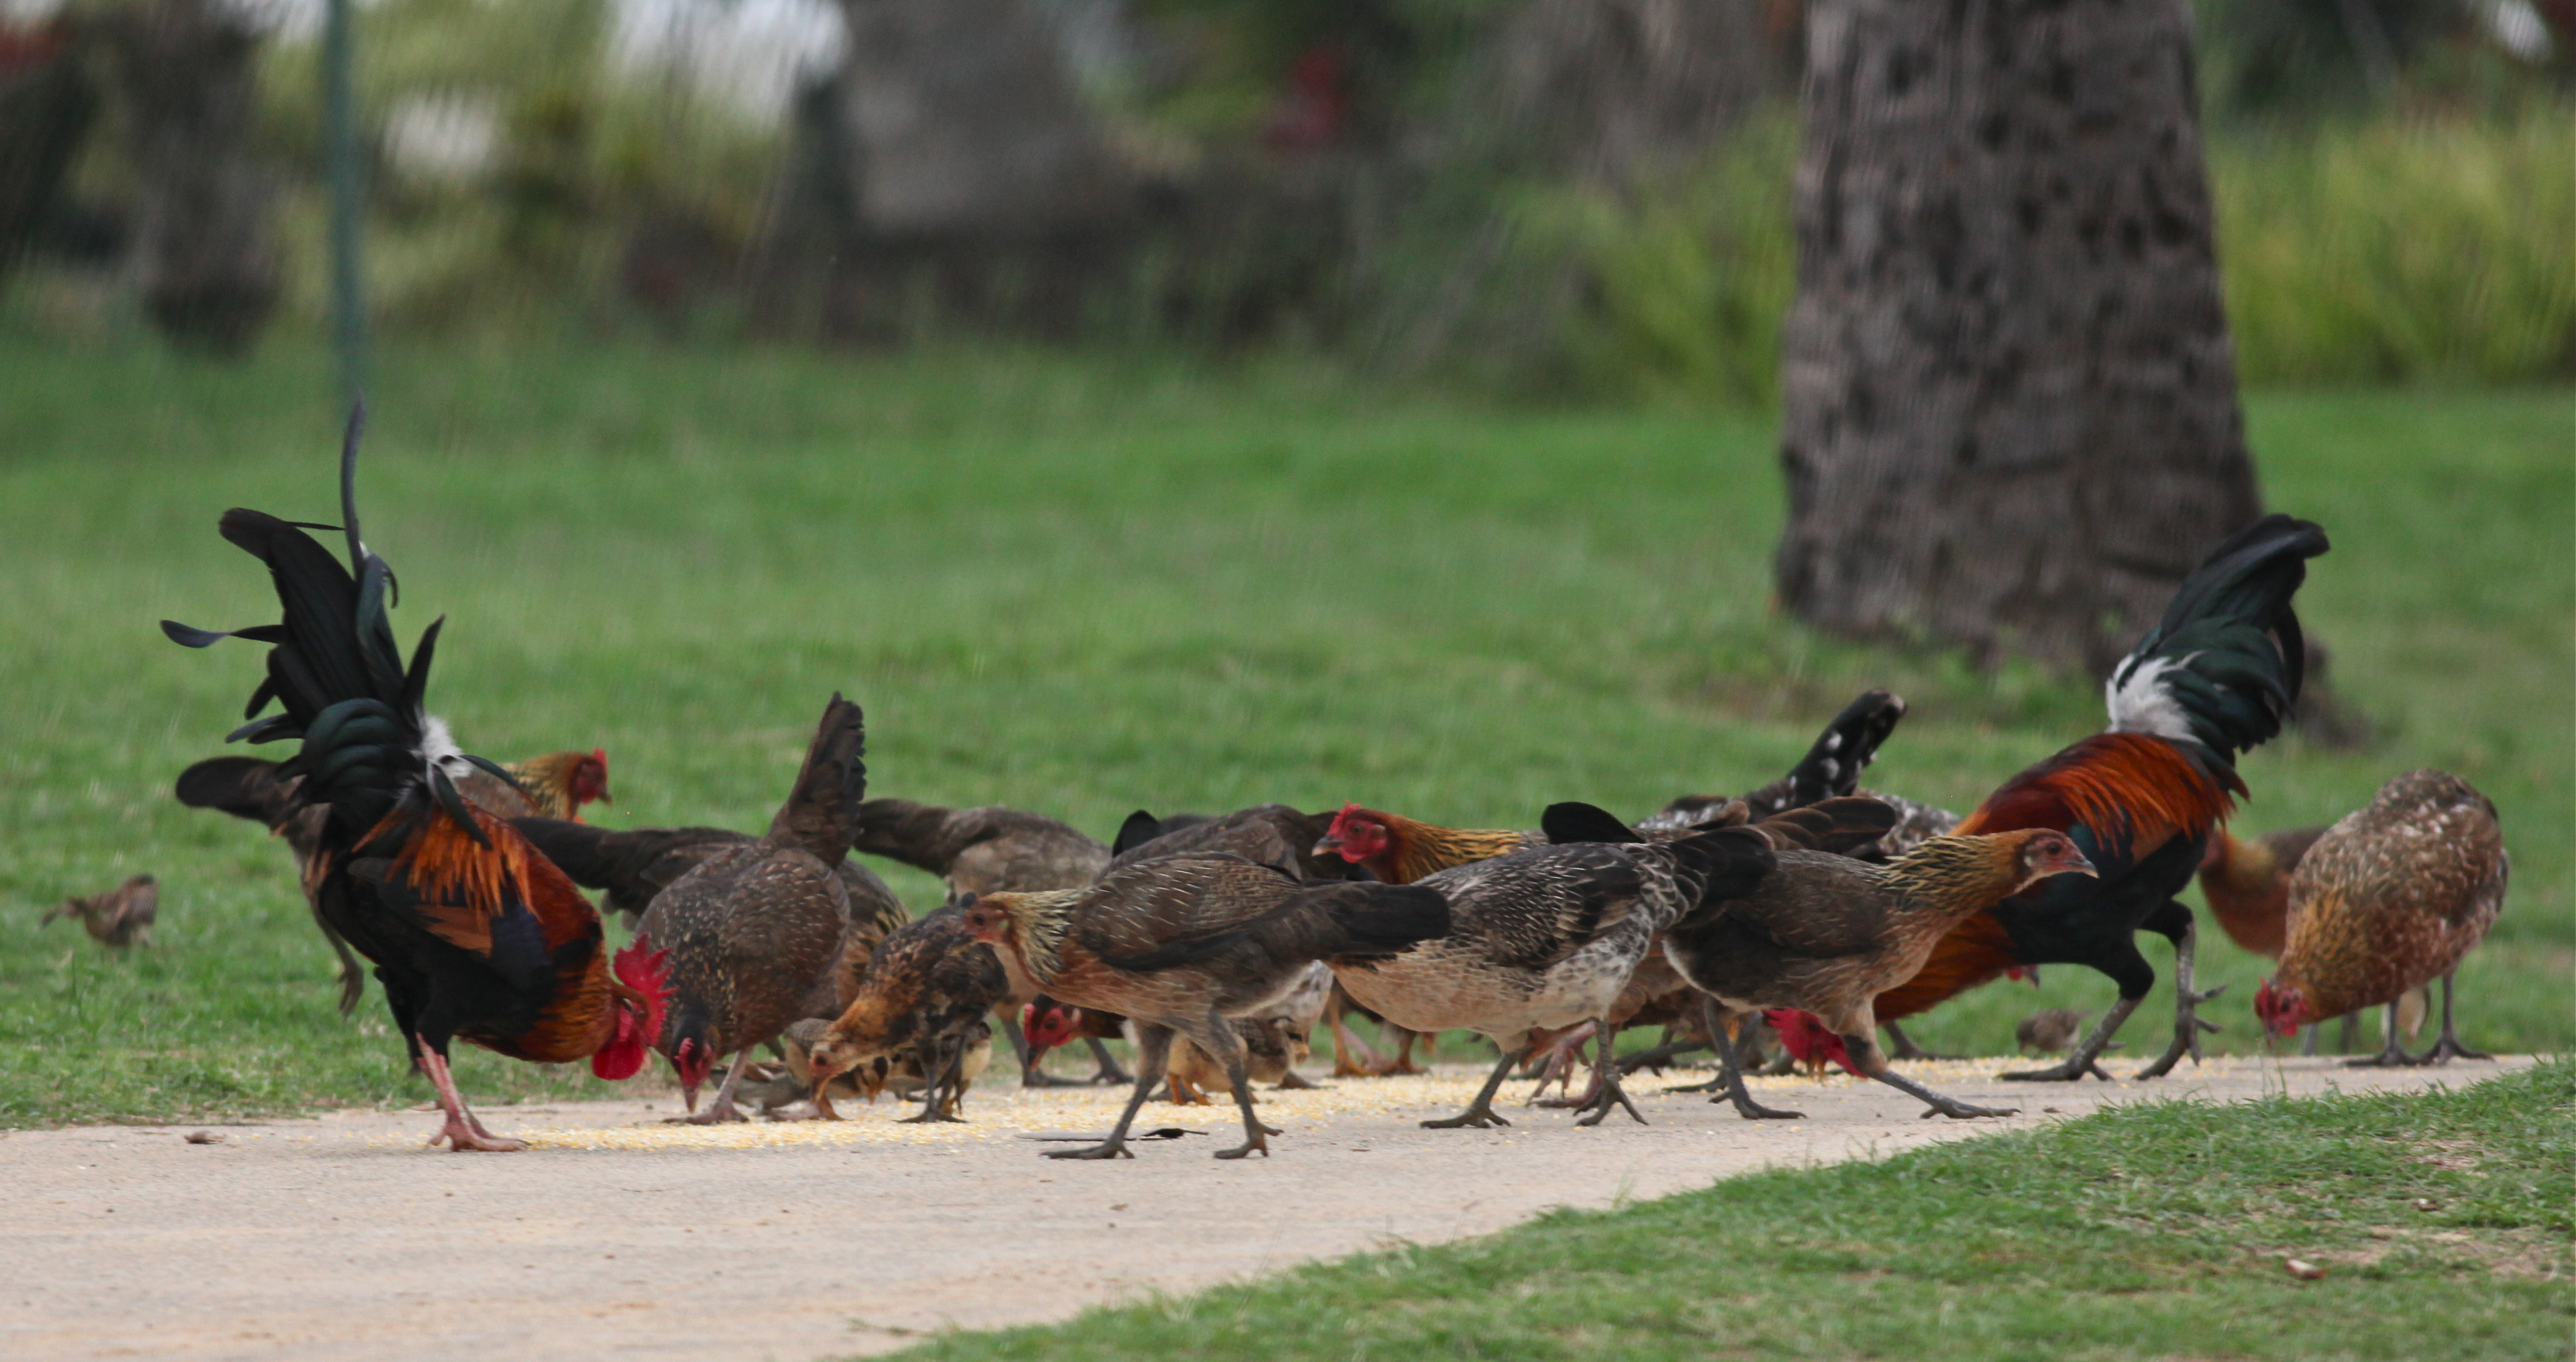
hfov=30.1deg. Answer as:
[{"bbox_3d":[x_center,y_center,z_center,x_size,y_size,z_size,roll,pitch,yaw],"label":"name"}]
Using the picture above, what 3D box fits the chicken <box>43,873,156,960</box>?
[{"bbox_3d":[-11.364,2.264,45.733,0.927,0.741,0.303,-1,0,18],"label":"chicken"}]
